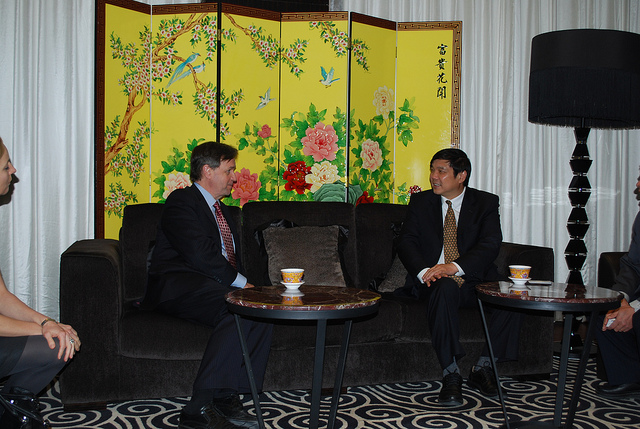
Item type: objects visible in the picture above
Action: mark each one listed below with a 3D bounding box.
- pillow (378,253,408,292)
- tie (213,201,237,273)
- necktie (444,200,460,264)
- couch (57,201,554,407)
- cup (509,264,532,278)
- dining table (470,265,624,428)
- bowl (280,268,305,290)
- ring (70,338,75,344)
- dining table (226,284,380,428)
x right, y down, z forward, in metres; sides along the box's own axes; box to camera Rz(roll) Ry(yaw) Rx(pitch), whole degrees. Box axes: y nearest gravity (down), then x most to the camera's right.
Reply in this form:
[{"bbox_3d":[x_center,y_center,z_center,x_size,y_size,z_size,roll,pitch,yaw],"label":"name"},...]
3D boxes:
[{"bbox_3d":[0.515,0.419,3.839,0.174,0.246,0.126,-5,8,-32],"label":"pillow"},{"bbox_3d":[-0.595,0.154,3.394,0.063,0.457,0.055,-22,-20,8],"label":"tie"},{"bbox_3d":[0.911,0.112,3.779,0.101,0.406,0.189,0,7,7],"label":"necktie"},{"bbox_3d":[-0.020,0.545,3.795,3.130,1.172,1.030,1,3,-13],"label":"couch"},{"bbox_3d":[1.121,0.308,3.055,0.092,0.066,0.094,1,-2,0],"label":"cup"},{"bbox_3d":[1.162,0.543,3.107,0.907,0.937,0.865,3,-4,-35],"label":"dining table"},{"bbox_3d":[-0.132,0.322,2.816,0.106,0.084,0.110,1,4,0],"label":"bowl"},{"bbox_3d":[-1.177,0.600,2.584,0.007,0.027,0.029,8,2,36],"label":"ring"},{"bbox_3d":[-0.096,0.714,2.854,0.782,0.804,0.740,6,-12,-33],"label":"dining table"}]
